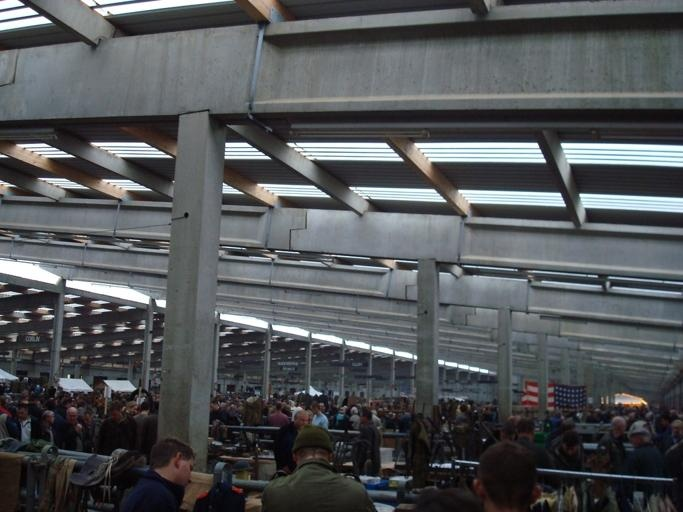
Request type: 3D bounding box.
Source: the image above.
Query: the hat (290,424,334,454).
[{"bbox_3d":[-0.273,1.755,6.598,0.364,0.265,0.187,3,-15,-3],"label":"hat"}]
